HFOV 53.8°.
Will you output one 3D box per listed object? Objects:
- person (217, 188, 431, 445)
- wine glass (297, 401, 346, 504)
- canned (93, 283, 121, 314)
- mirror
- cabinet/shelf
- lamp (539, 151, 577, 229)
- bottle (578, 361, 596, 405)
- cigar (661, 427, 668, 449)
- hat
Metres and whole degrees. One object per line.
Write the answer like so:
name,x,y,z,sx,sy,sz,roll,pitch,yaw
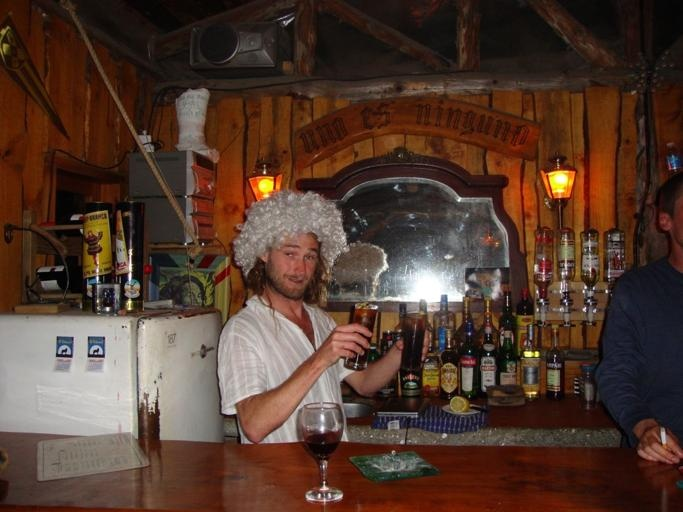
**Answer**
person,-0.178,0.267,3.324,0.908,1.252,0.799,-1,-8,13
wine glass,-0.054,0.737,2.552,0.165,0.353,0.188,-3,-9,29
canned,-1.145,0.205,3.254,0.147,0.182,0.140,1,-3,-1
mirror,0.572,-0.141,4.544,1.280,0.815,0.085,0,-2,2
cabinet/shelf,-1.183,-0.393,4.750,0.541,0.579,0.663,0,2,9
lamp,1.506,-0.438,4.638,0.246,0.502,0.198,-1,-8,17
bottle,1.547,0.809,4.196,0.096,0.253,0.225,-2,-8,19
cigar,1.313,0.737,2.733,0.019,0.076,0.019,5,-47,10
hat,-0.274,-0.131,3.526,0.532,0.275,0.487,-5,-4,23
